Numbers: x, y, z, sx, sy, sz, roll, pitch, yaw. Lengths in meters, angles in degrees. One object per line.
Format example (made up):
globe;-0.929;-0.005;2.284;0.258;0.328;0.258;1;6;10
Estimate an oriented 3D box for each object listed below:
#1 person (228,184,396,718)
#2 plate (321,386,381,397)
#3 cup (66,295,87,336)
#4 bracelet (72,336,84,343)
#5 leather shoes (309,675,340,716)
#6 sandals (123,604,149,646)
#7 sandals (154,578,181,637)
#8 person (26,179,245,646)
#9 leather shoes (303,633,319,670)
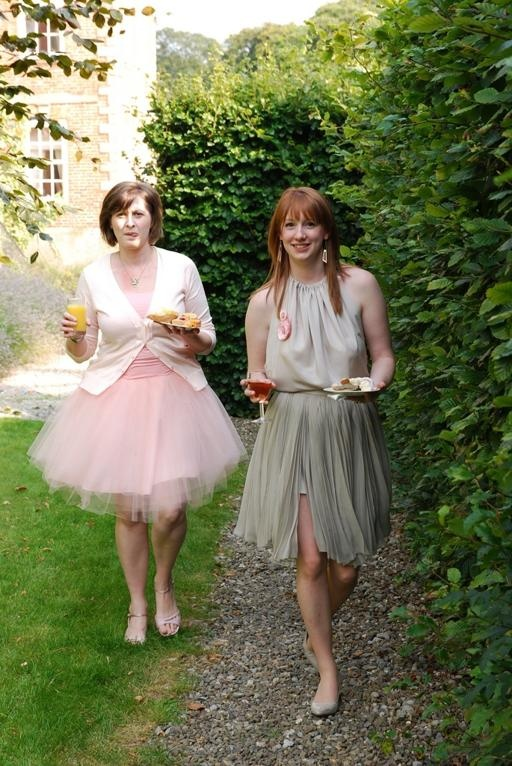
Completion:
person;0.204;0.216;2.516;0.490;1.895;0.674;0;9;-44
plate;0.323;0.032;2.211;0.213;0.041;0.087;1;7;-34
cup;-0.761;-0.286;2.830;0.070;0.146;0.114;9;7;20
bracelet;-0.780;-0.191;2.861;0.031;0.032;0.032;11;50;13
leather shoes;0.252;1.139;2.359;0.097;0.122;0.076;6;6;1
sandals;-0.549;1.097;2.954;0.064;0.071;0.189;2;11;-7
sandals;-0.417;1.058;3.053;0.095;0.111;0.287;-4;-8;-9
person;-0.543;0.240;3.027;0.949;1.799;0.562;6;7;-1
leather shoes;0.222;1.131;2.789;0.055;0.057;0.155;-2;5;-9
